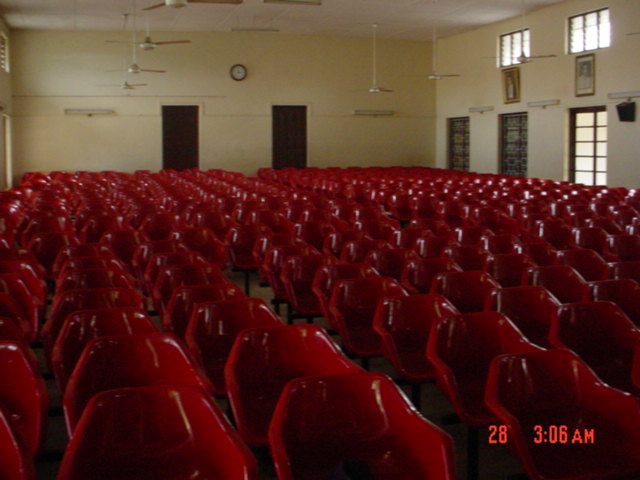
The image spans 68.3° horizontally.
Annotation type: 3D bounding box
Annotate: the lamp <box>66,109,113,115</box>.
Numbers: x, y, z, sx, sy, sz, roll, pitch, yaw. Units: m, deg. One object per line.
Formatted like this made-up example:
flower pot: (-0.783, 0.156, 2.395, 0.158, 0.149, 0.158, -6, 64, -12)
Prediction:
lamp: (-9.192, -5.086, 18.792, 1.909, 0.321, 0.180, -1, 10, -9)

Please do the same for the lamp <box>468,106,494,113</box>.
lamp: (6.460, -5.209, 18.793, 0.229, 0.312, 1.314, -3, 11, -18)

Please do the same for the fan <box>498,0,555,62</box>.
fan: (7.105, -7.146, 16.796, 0.941, 1.712, 2.155, -1, 10, -4)
